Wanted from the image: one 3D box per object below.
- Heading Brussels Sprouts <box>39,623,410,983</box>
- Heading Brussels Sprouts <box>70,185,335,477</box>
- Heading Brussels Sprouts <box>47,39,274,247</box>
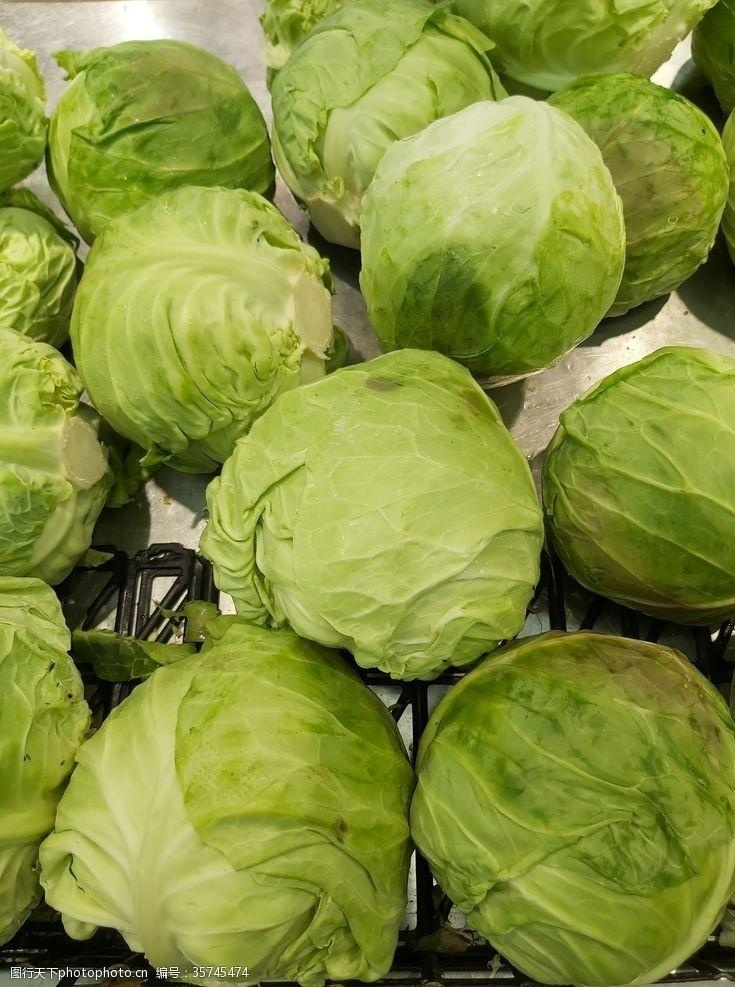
[{"bbox_3d":[-0.214,0.486,1.526,0.558,0.378,0.535,6,69,-6],"label":"Heading Brussels Sprouts"},{"bbox_3d":[-0.276,-0.349,1.800,0.487,0.456,0.536,-21,24,20],"label":"Heading Brussels Sprouts"},{"bbox_3d":[-0.402,-0.737,1.947,0.478,0.379,0.408,-19,36,-41],"label":"Heading Brussels Sprouts"}]
